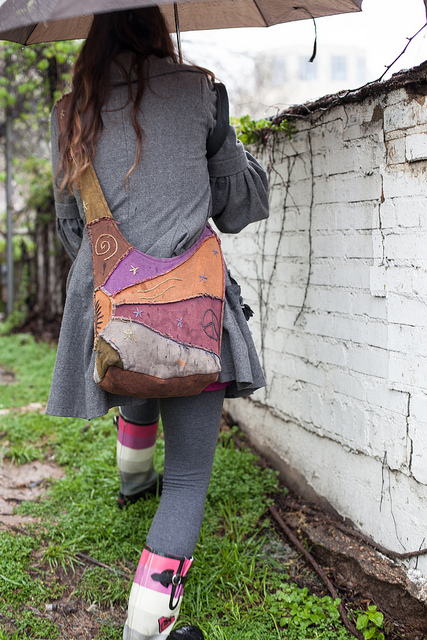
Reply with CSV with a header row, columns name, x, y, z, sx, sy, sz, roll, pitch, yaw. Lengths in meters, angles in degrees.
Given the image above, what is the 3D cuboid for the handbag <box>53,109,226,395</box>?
name,x,y,z,sx,sy,sz,roll,pitch,yaw
handbag,-0.174,-0.194,1.522,0.399,0.743,0.397,-7,14,-3
